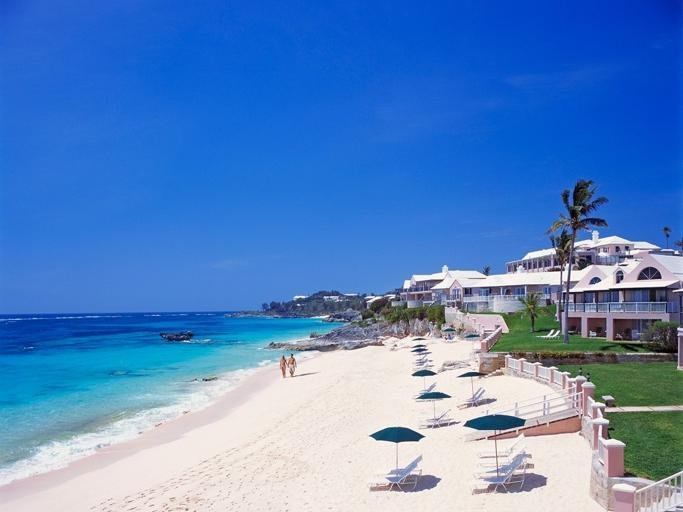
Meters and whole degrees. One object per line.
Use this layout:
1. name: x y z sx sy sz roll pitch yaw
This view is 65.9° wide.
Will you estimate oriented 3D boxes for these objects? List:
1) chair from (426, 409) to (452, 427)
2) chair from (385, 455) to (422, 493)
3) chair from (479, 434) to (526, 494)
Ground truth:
1. chair: 5.463 8.978 29.055 1.380 0.346 0.868 -1 -5 -1
2. chair: 2.859 9.448 23.074 1.985 1.209 1.123 0 -7 -38
3. chair: 6.843 8.853 22.589 2.380 1.749 2.523 -6 -6 15
